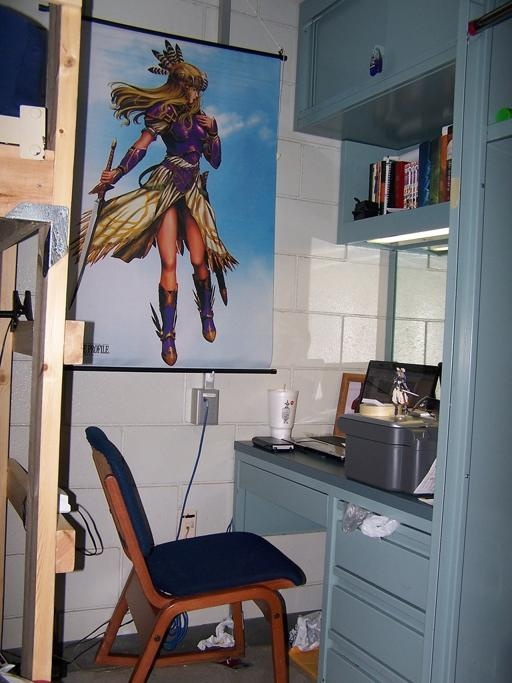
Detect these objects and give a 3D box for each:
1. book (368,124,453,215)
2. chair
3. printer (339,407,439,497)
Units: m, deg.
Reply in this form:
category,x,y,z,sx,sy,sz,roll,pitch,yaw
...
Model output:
category,x,y,z,sx,sy,sz,roll,pitch,yaw
book,0.568,-0.591,2.126,0.114,0.278,0.367,0,-3,-32
chair,-0.178,0.702,2.104,0.799,1.079,0.753,-3,1,-16
printer,0.346,0.298,1.525,0.161,0.140,0.222,1,-3,-25
